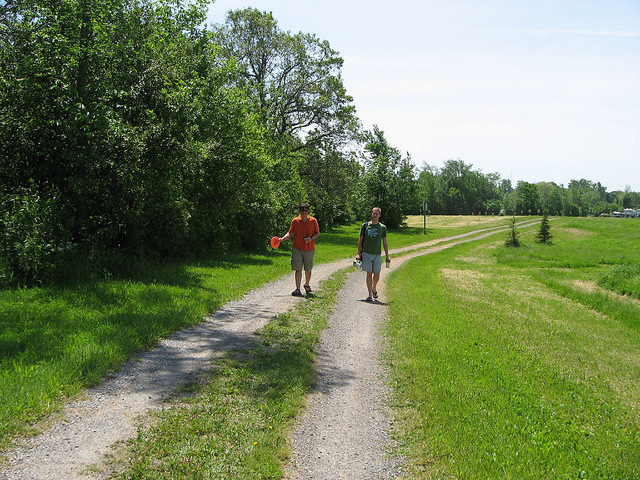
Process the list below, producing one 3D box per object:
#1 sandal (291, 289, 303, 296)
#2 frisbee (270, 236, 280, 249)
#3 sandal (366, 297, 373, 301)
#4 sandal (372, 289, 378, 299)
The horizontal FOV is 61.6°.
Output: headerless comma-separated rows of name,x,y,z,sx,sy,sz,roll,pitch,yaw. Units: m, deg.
sandal,-0.767,1.696,17.066,0.147,0.184,0.271,-2,-8,23
frisbee,-1.469,0.117,16.905,0.070,0.325,0.305,0,24,32
sandal,1.609,1.956,17.544,0.202,0.081,0.254,5,10,-11
sandal,1.784,1.816,17.768,0.218,0.279,0.660,-1,-5,2
